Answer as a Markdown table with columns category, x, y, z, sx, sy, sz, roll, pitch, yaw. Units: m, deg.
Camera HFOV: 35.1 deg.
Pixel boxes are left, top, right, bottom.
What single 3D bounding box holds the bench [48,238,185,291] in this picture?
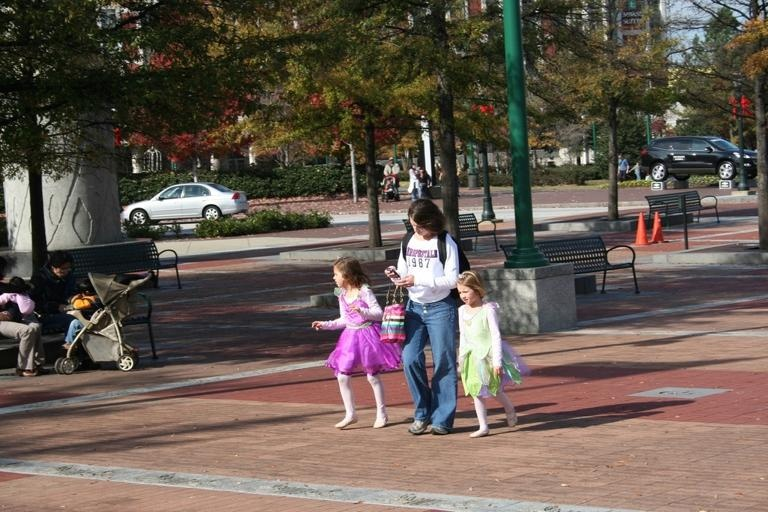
| category | x | y | z | sx | sy | sz | roll | pitch | yaw |
| --- | --- | --- | --- | --- | --- | --- | --- | --- | --- |
| bench | -5.740 | 0.345 | 24.897 | 2.984 | 0.833 | 0.893 | -6 | 10 | -43 |

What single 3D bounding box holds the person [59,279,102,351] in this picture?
| category | x | y | z | sx | sy | sz | roll | pitch | yaw |
| --- | --- | --- | --- | --- | --- | --- | --- | --- | --- |
| person | -4.621 | 0.907 | 18.135 | 0.918 | 0.930 | 0.513 | -1 | -2 | 20 |

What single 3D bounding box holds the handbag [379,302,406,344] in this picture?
| category | x | y | z | sx | sy | sz | roll | pitch | yaw |
| --- | --- | --- | --- | --- | --- | --- | --- | --- | --- |
| handbag | 0.102 | 0.800 | 14.103 | 0.318 | 0.387 | 0.289 | -6 | 2 | 0 |

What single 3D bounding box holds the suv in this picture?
| category | x | y | z | sx | sy | sz | roll | pitch | yaw |
| --- | --- | --- | --- | --- | --- | --- | --- | --- | --- |
| suv | 12.588 | -3.947 | 48.767 | 4.800 | 1.427 | 2.120 | -1 | 0 | 33 |

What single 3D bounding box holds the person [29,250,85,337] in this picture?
| category | x | y | z | sx | sy | sz | roll | pitch | yaw |
| --- | --- | --- | --- | --- | --- | --- | --- | --- | --- |
| person | -4.936 | 0.597 | 18.375 | 0.831 | 1.327 | 1.008 | 1 | -2 | -22 |

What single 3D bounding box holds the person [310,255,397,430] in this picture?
| category | x | y | z | sx | sy | sz | roll | pitch | yaw |
| --- | --- | --- | --- | --- | --- | --- | --- | --- | --- |
| person | -0.184 | 1.042 | 14.584 | 0.752 | 1.914 | 1.067 | -1 | 0 | 36 |
